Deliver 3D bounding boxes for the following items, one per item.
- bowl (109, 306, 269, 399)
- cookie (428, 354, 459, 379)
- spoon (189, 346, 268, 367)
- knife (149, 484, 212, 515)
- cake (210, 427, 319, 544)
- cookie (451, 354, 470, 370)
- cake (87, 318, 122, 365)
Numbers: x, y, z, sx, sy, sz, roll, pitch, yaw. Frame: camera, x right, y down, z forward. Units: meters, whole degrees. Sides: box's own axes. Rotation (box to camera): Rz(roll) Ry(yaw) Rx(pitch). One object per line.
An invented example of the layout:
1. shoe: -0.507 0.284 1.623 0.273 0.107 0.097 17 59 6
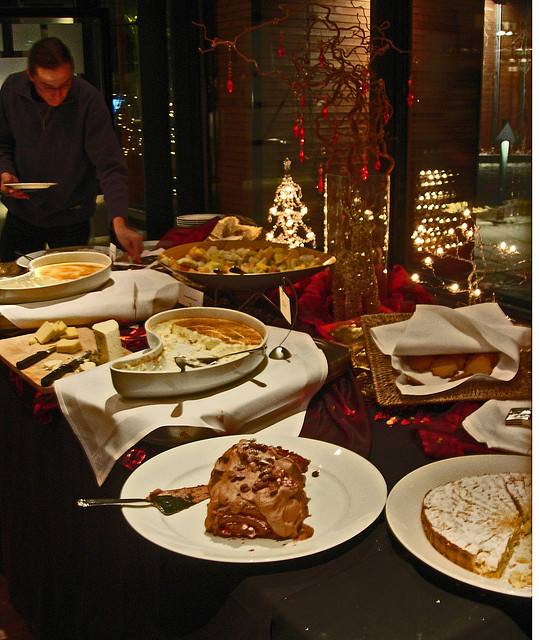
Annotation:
1. bowl: -0.128 0.057 0.928 0.233 0.054 0.274 7 25 11
2. cookie: 0.303 0.080 0.944 0.046 0.011 0.042 2 42 15
3. spoon: -0.070 0.059 0.889 0.088 0.011 0.014 -14 55 4
4. knife: -0.103 0.206 0.626 0.051 0.002 0.026 -6 24 -46
5. cake: 0.000 0.184 0.648 0.117 0.057 0.210 0 12 5
6. cookie: 0.337 0.071 0.953 0.028 0.025 0.006 24 -4 -2
7. cake: -0.319 0.051 1.042 0.050 0.060 0.066 8 15 40
